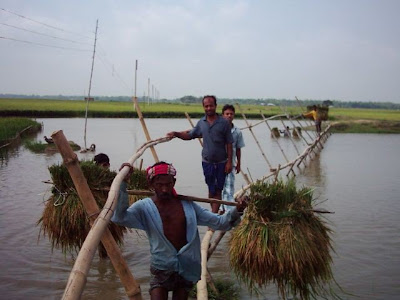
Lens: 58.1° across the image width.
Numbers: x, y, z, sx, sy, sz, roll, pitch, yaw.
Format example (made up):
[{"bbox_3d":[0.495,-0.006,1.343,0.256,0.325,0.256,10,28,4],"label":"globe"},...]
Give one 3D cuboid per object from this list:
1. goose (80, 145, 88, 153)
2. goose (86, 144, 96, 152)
[{"bbox_3d":[-5.872,-0.049,18.221,0.381,0.286,0.630,-4,5,-17],"label":"goose"},{"bbox_3d":[-5.651,-0.159,18.733,0.461,0.494,0.319,6,4,7],"label":"goose"}]
